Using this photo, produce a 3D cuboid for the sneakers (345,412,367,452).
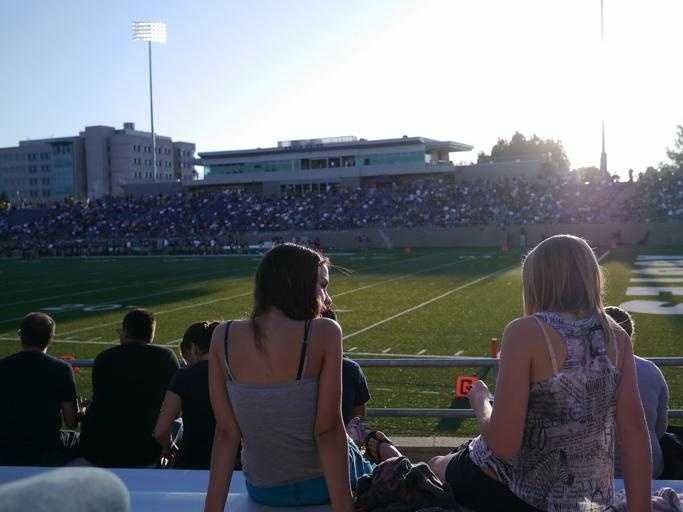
[{"bbox_3d":[0.099,1.020,4.325,0.060,0.139,0.163,30,-43,-13],"label":"sneakers"}]
